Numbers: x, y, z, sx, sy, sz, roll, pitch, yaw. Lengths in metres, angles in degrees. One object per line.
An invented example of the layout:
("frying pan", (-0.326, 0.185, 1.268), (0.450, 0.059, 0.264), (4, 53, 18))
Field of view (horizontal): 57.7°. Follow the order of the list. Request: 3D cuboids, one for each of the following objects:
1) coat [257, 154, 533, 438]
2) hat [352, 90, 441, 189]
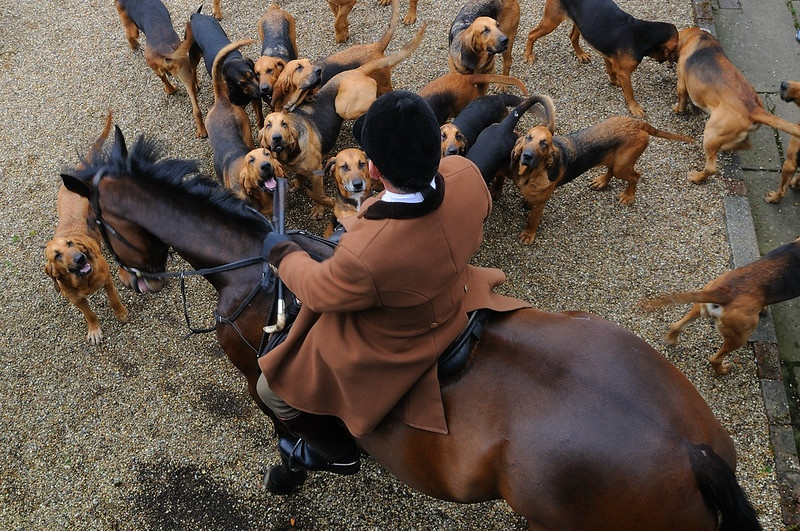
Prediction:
("coat", (-0.064, -0.001, 6.674), (1.805, 2.515, 2.341), (25, 52, 20))
("hat", (0.031, -1.011, 5.816), (0.637, 0.500, 0.553), (30, 61, 24))
